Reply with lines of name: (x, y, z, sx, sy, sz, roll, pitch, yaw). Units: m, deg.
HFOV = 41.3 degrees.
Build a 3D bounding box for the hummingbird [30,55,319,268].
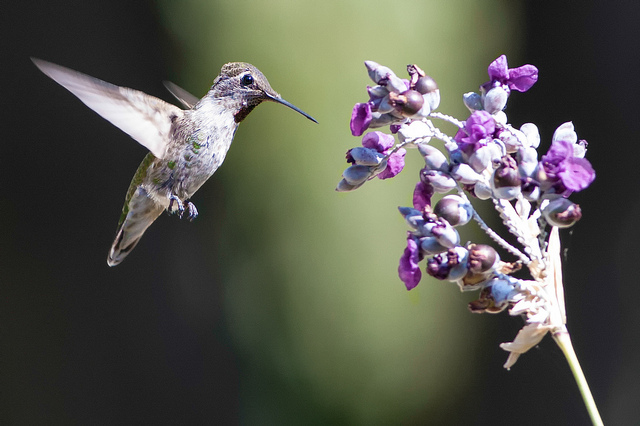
hummingbird: (-0.453, -0.237, 2.833, 0.706, 0.497, 0.884, -10, -4, 10)
